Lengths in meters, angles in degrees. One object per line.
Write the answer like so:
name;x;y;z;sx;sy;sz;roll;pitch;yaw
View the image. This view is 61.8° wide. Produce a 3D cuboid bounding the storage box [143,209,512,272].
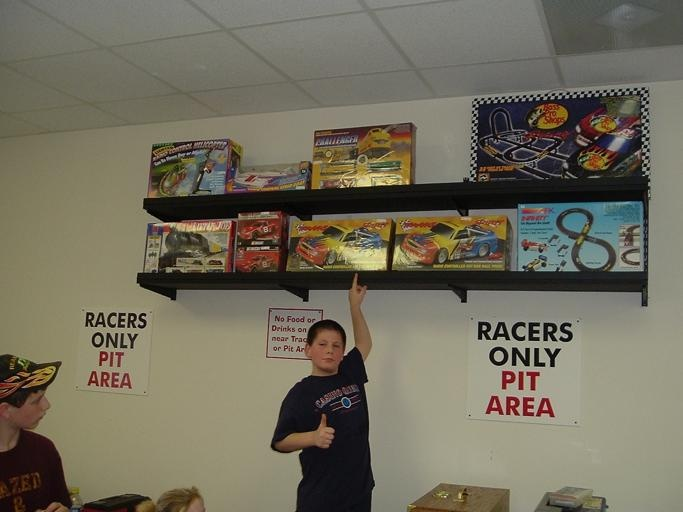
storage box;0.004;-0.068;3.539;2.821;0.394;0.538;0;-6;15
